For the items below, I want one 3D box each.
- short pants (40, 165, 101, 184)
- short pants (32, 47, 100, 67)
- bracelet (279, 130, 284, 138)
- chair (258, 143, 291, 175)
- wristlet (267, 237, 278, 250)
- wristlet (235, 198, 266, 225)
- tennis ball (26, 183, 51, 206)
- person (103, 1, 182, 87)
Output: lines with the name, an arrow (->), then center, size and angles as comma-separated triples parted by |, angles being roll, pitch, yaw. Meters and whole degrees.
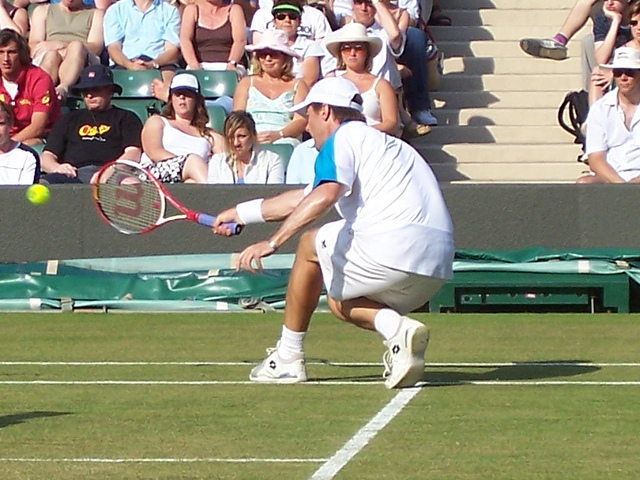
short pants -> -2.449, -0.609, 17.128 | 0.534, 0.165, 0.705 | 2, 11, 0
short pants -> -2.686, -2.001, 18.898 | 0.785, 0.201, 0.524 | -2, 12, -21
bracelet -> -0.375, -1.056, 17.418 | 0.013, 0.049, 0.050 | -15, -20, -16
chair -> -0.434, -0.794, 16.993 | 0.287, 0.255, 0.270 | 2, -3, 1
wristlet -> -0.343, 0.029, 13.122 | 0.028, 0.093, 0.053 | -43, 7, -20
wristlet -> -0.523, -0.222, 13.548 | 0.210, 0.162, 0.171 | -7, 0, 5
tennis ball -> -2.641, -0.413, 16.451 | 0.226, 0.187, 0.191 | 27, -7, -18
person -> -1.864, -2.239, 19.212 | 0.731, 1.232, 0.794 | 23, 23, 36
